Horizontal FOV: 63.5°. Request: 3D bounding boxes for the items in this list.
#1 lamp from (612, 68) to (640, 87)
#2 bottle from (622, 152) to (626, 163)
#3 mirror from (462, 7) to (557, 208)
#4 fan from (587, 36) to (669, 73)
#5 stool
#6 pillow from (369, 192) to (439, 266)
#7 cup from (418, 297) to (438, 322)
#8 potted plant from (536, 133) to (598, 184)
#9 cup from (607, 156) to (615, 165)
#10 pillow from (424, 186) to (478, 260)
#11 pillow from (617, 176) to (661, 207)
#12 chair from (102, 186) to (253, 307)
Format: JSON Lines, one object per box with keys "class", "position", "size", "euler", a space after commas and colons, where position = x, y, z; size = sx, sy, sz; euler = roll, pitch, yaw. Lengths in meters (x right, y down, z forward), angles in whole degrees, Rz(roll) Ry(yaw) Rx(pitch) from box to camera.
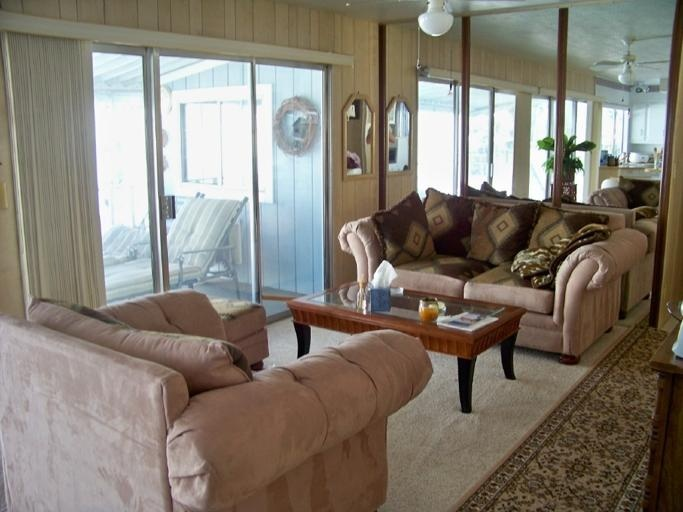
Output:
{"class": "lamp", "position": [2.521, -1.615, 4.920], "size": [0.144, 0.221, 0.148], "euler": [4, 9, 34]}
{"class": "bottle", "position": [2.523, -0.890, 4.942], "size": [0.019, 0.071, 0.051], "euler": [1, -4, 11]}
{"class": "mirror", "position": [1.676, -1.452, 5.464], "size": [1.093, 1.853, 0.227], "euler": [7, 13, 35]}
{"class": "fan", "position": [2.503, -1.778, 4.858], "size": [0.330, 0.139, 0.332], "euler": [1, 5, -5]}
{"class": "stool", "position": [-0.684, 0.469, 3.738], "size": [0.466, 0.417, 0.462], "euler": [-1, 3, 31]}
{"class": "pillow", "position": [0.552, -0.209, 4.830], "size": [0.173, 0.587, 0.586], "euler": [-14, 5, 43]}
{"class": "cup", "position": [0.550, 0.344, 3.568], "size": [0.129, 0.134, 0.130], "euler": [-1, 2, 0]}
{"class": "potted plant", "position": [2.120, -0.947, 5.250], "size": [0.416, 0.387, 0.425], "euler": [0, 0, 38]}
{"class": "cup", "position": [2.450, -0.868, 5.019], "size": [0.065, 0.079, 0.067], "euler": [0, 3, 0]}
{"class": "pillow", "position": [0.993, -0.273, 5.064], "size": [0.563, 0.643, 0.234], "euler": [8, -13, 3]}
{"class": "pillow", "position": [2.667, -0.572, 4.938], "size": [0.082, 0.274, 0.274], "euler": [-25, 11, -31]}
{"class": "chair", "position": [-1.281, -0.085, 4.426], "size": [0.572, 0.641, 1.037], "euler": [7, 8, 31]}
